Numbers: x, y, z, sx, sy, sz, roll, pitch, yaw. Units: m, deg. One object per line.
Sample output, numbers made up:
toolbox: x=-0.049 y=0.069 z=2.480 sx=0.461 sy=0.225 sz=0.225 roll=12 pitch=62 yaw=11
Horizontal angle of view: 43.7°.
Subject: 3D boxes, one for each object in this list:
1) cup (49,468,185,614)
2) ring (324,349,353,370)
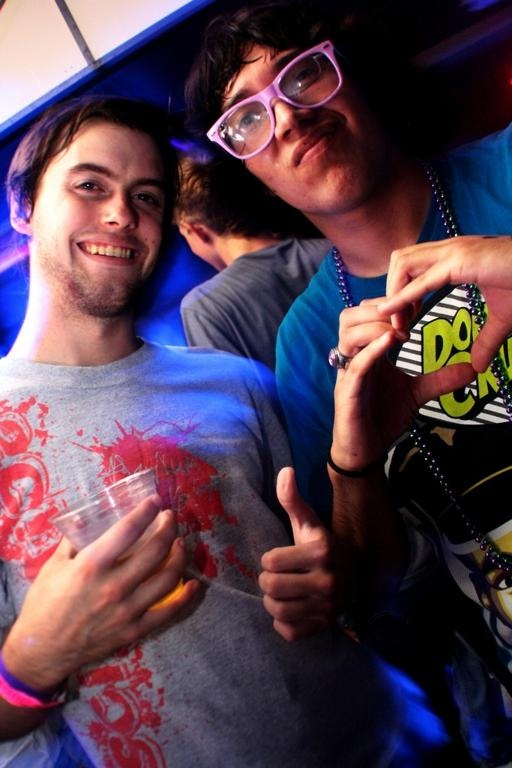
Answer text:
cup: x=-0.177 y=0.187 z=0.764 sx=0.098 sy=0.103 sz=0.115 roll=44 pitch=43 yaw=8
ring: x=0.121 y=-0.036 z=0.913 sx=0.033 sy=0.029 sz=0.024 roll=-13 pitch=37 yaw=-22
